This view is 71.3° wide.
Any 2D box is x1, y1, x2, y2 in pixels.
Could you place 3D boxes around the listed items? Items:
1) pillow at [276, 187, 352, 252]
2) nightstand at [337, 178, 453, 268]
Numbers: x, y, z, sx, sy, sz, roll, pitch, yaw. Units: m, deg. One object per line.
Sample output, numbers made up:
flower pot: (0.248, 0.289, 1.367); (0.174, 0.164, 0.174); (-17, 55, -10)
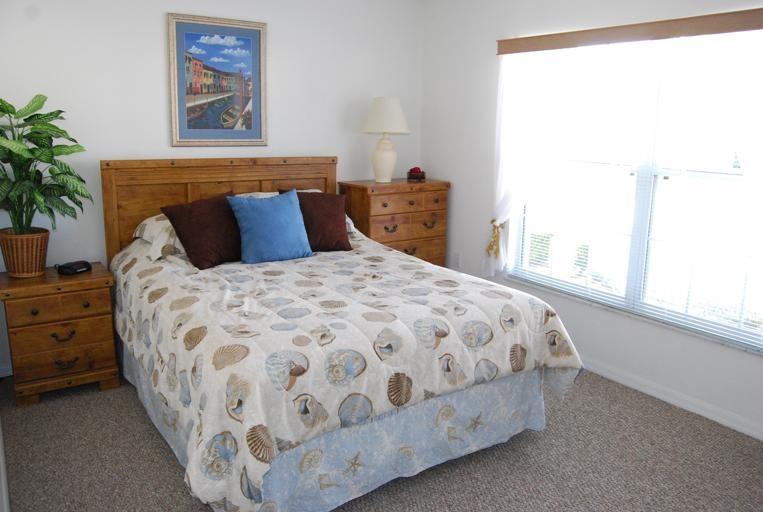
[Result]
pillow: (-0.478, -0.304, 4.352); (0.534, 0.527, 0.140); (24, 39, 32)
nightstand: (0.156, -0.282, 5.200); (0.930, 0.887, 0.559); (-8, 22, -28)
